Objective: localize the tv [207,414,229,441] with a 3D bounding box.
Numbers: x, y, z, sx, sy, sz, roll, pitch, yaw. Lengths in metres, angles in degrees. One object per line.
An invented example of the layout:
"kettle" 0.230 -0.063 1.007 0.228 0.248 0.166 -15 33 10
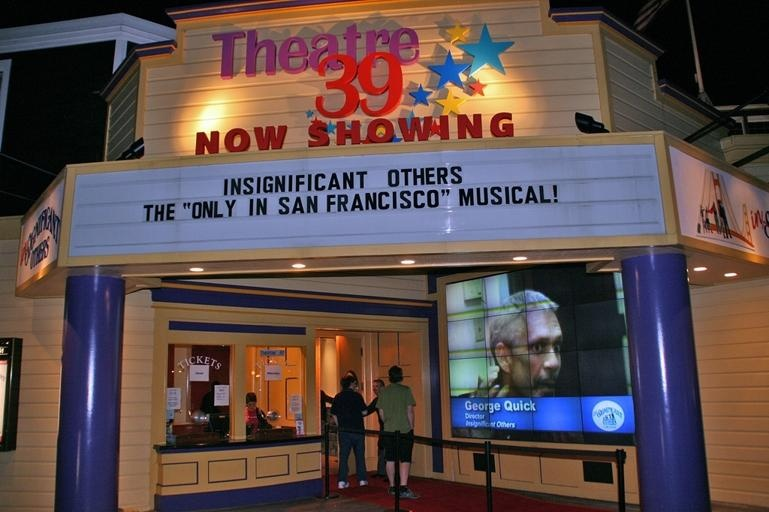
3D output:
"tv" -3.247 3.344 13.722 0.441 0.438 0.156 5 -11 -26

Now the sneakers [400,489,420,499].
"sneakers" 0.490 4.561 13.565 0.377 0.162 0.136 5 -7 -27

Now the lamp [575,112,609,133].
"lamp" 3.560 -2.287 12.161 0.575 0.140 0.330 21 -27 -10
